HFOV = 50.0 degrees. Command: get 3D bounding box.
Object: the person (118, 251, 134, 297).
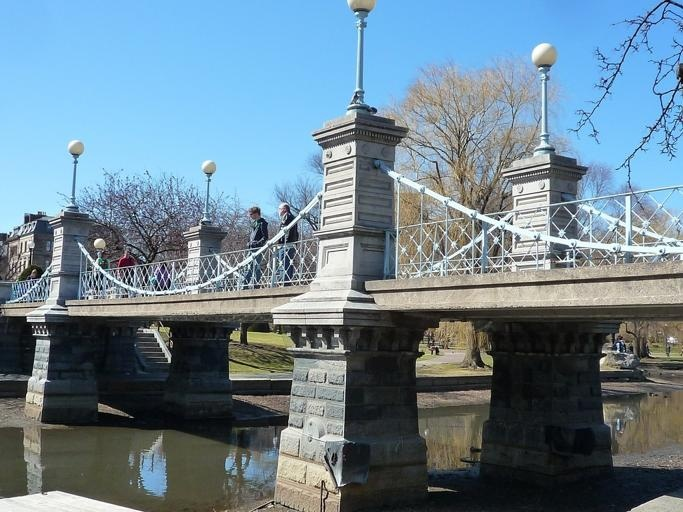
[{"bbox_3d":[-6.859,0.526,23.773,0.649,0.529,1.764,8,29,-26],"label":"person"}]
